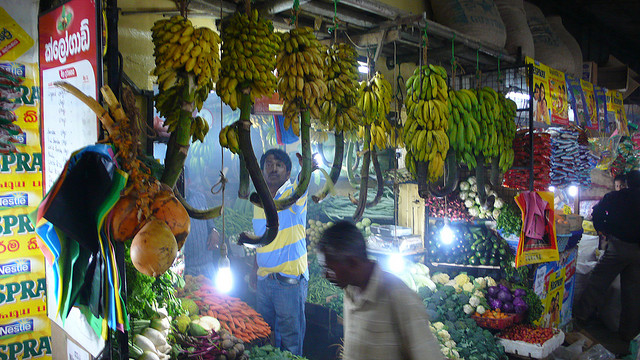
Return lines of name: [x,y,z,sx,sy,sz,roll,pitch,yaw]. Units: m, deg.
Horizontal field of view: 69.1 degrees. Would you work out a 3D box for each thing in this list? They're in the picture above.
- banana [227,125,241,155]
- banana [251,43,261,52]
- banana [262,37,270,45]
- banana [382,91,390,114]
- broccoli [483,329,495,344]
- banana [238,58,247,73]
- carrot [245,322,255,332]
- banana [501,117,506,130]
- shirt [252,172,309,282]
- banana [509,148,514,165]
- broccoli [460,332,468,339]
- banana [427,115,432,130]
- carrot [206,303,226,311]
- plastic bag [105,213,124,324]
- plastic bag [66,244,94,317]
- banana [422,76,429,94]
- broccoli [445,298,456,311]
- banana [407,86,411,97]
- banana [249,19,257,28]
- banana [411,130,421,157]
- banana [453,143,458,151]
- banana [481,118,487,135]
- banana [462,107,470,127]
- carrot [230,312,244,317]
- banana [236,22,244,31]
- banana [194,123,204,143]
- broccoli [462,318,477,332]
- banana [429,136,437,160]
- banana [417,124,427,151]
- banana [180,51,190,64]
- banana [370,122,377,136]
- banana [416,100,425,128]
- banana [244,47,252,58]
banana: [-0.681,-0.315,3.626,0.061,0.236,0.082,-13,7,20]
banana: [-0.498,-1.025,3.589,0.069,0.045,0.037,20,45,34]
banana: [-0.419,-1.079,3.624,0.021,0.079,0.028,-29,3,-13]
banana: [0.598,-0.701,4.227,0.046,0.176,0.047,-11,2,-11]
broccoli: [1.989,1.848,5.490,0.083,0.151,0.045,-12,-32,-37]
banana: [-0.599,-0.889,3.578,0.044,0.133,0.039,-4,-9,-26]
carrot: [-0.759,1.555,4.949,0.041,0.153,0.033,-53,-19,17]
banana: [2.026,-0.615,5.097,0.061,0.118,0.014,1,-4,-33]
shirt: [-0.478,0.582,5.503,0.648,1.260,0.452,-1,-3,1]
banana: [2.184,-0.269,5.287,0.065,0.186,0.048,4,6,-17]
broccoli: [1.709,1.848,5.499,0.066,0.051,0.014,8,-15,8]
banana: [1.056,-0.541,4.444,0.027,0.103,0.036,0,0,-3]
carrot: [-1.113,1.342,4.908,0.181,0.050,0.066,0,-3,-14]
plastic bag: [-1.560,0.643,3.458,0.114,0.785,0.092,-13,-10,17]
plastic bag: [-1.805,0.760,3.552,0.139,0.526,0.140,7,-10,16]
banana: [1.016,-0.920,4.496,0.042,0.170,0.051,12,-7,-6]
broccoli: [1.616,1.538,5.716,0.100,0.126,0.037,-2,-14,10]
banana: [0.885,-0.872,4.605,0.024,0.073,0.019,4,-3,8]
banana: [-0.522,-1.219,3.614,0.048,0.062,0.035,-7,-33,15]
banana: [0.914,-0.355,4.418,0.091,0.278,0.056,7,4,6]
banana: [1.350,-0.333,4.624,0.052,0.070,0.018,-1,10,-34]
banana: [1.722,-0.563,4.842,0.054,0.167,0.045,-9,-3,45]
banana: [1.471,-0.631,4.675,0.049,0.190,0.068,-13,8,-3]
carrot: [-0.901,1.435,4.944,0.114,0.037,0.034,7,2,-12]
banana: [-0.630,-1.196,3.614,0.043,0.057,0.031,-8,6,2]
banana: [-0.962,-0.366,3.681,0.044,0.165,0.052,-21,13,-7]
broccoli: [1.819,1.743,5.604,0.161,0.123,0.136,-2,-4,24]
banana: [1.087,-0.297,4.422,0.079,0.243,0.050,2,-8,33]
banana: [0.971,-0.399,4.435,0.056,0.230,0.080,6,-20,37]
banana: [-1.016,-0.916,3.477,0.029,0.108,0.037,35,-8,2]
banana: [0.482,-0.458,4.155,0.033,0.111,0.032,-14,-4,8]
banana: [0.955,-0.630,4.409,0.080,0.247,0.055,3,0,3]
banana: [-0.560,-0.983,3.583,0.028,0.097,0.035,-27,16,2]
